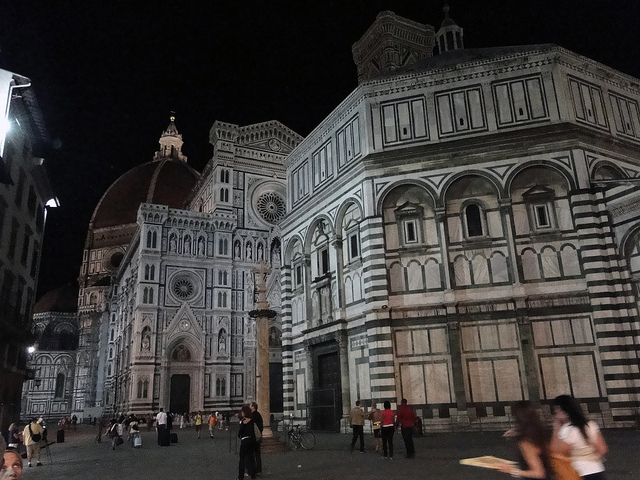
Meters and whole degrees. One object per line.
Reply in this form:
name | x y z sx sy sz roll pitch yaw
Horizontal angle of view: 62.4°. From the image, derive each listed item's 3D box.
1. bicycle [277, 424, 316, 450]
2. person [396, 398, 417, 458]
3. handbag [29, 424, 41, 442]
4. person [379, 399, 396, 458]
bicycle | -0.687 6.952 18.651 1.032 0.881 2.415 -2 -22 0
person | 2.505 5.377 15.180 0.464 1.628 0.956 -4 -21 6
handbag | -9.792 6.663 18.189 0.308 0.575 0.400 -35 -26 23
person | 2.040 5.597 15.671 0.445 1.588 1.457 -4 -21 6
